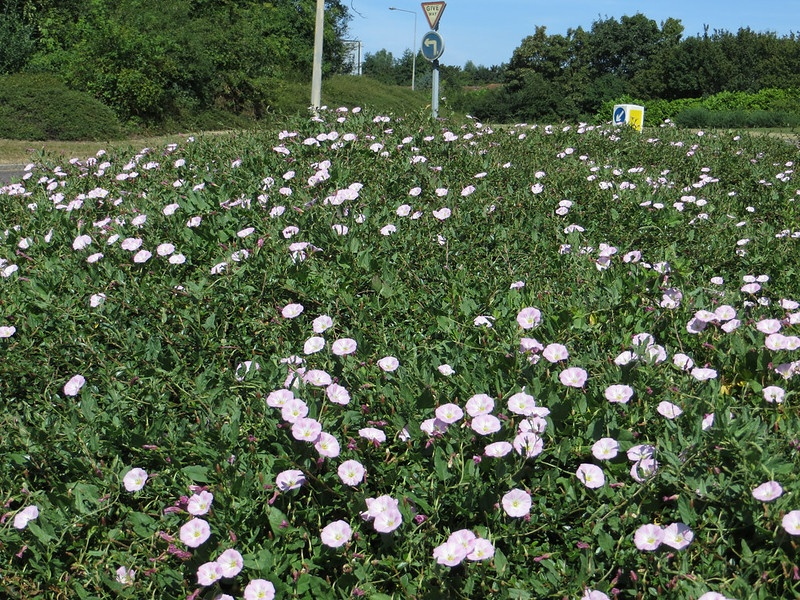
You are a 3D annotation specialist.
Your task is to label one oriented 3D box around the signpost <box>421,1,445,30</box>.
[{"bbox_3d":[0.494,-4.249,9.534,0.303,0.428,0.900,2,32,0],"label":"signpost"}]
